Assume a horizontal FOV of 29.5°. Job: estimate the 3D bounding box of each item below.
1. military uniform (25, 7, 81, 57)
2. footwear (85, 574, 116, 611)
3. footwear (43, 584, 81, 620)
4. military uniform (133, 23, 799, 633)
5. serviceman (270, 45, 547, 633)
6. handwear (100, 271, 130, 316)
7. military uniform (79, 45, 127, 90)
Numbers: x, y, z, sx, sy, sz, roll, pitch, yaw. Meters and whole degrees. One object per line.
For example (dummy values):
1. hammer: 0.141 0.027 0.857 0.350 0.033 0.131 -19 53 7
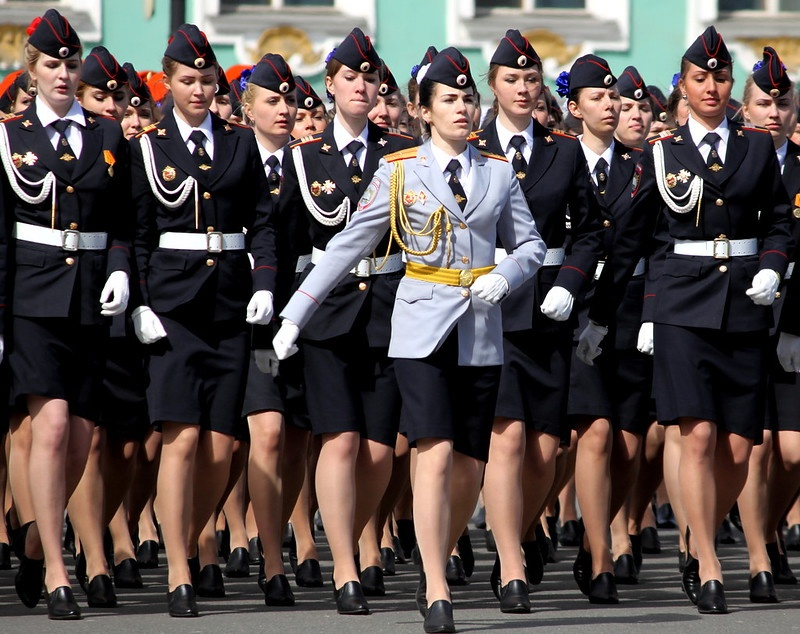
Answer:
1. military uniform: -1.705 -1.426 7.464 0.276 0.165 0.340 -9 35 -19
2. footwear: -1.470 1.364 7.470 0.091 0.083 0.230 -2 11 -14
3. footwear: -1.576 1.345 7.114 0.167 0.162 0.119 -2 -2 0
4. military uniform: 0.338 0.179 7.747 3.919 3.206 1.386 -1 -4 -17
5. serviceman: 0.121 0.078 6.992 0.884 2.669 0.504 -1 -2 -31
6. handwear: -1.359 -0.113 7.293 0.072 0.194 0.165 18 9 26
7. military uniform: -1.777 -1.469 9.168 0.246 0.160 0.305 3 -29 14
